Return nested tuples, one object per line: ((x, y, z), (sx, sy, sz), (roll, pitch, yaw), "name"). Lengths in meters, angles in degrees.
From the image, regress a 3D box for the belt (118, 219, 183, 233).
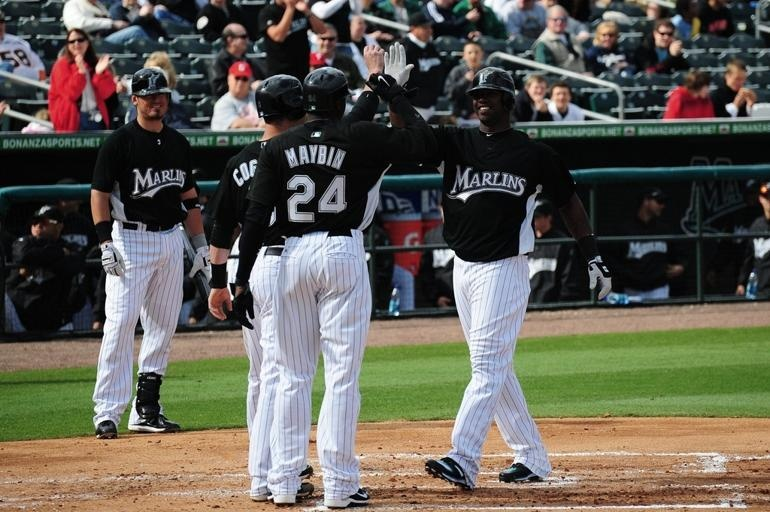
((-2.307, -0.276, 14.126), (0.595, 0.123, 0.115), (-4, 15, -14), "belt")

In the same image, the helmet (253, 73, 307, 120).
((-0.935, -1.385, 12.830), (0.472, 0.379, 0.233), (2, 15, 10), "helmet")

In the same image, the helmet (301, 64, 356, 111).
((-0.530, -1.441, 12.669), (0.382, 0.380, 0.178), (-2, 15, -4), "helmet")

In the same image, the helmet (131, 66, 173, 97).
((-2.273, -1.669, 14.022), (0.364, 0.271, 0.244), (-3, 15, -8), "helmet")

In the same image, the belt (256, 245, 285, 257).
((-0.994, -0.036, 12.676), (0.235, 0.097, 0.055), (7, 17, 28), "belt")

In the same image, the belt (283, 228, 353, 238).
((-0.590, -0.190, 12.597), (0.593, 0.081, 0.069), (1, 15, 5), "belt")
